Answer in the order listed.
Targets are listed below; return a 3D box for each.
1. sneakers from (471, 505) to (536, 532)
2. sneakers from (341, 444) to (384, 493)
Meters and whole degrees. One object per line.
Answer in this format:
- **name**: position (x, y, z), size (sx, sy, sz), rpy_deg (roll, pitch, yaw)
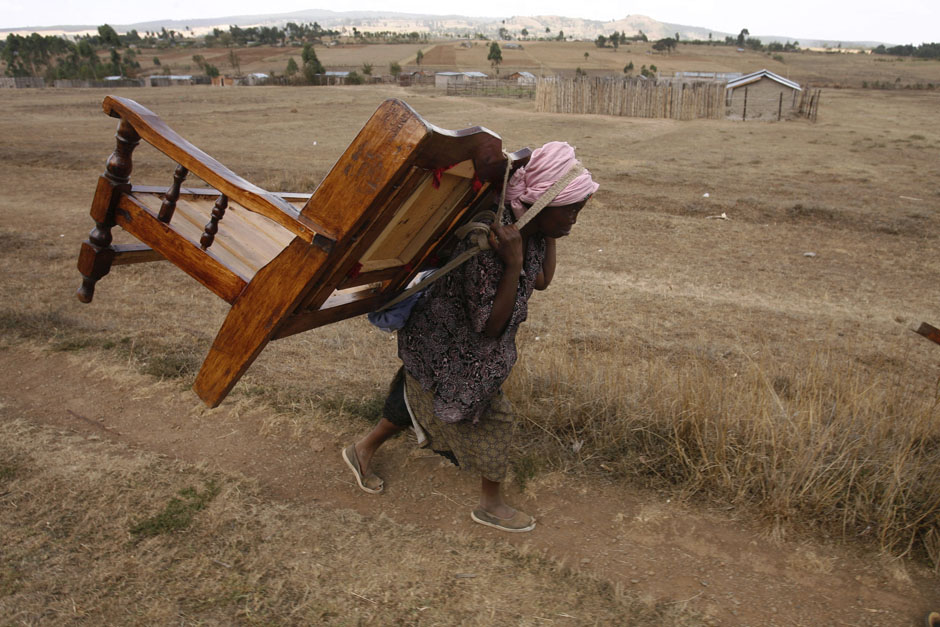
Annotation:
- **sneakers**: position (0.213, 1.314, 4.717), size (0.363, 0.143, 0.156), rpy_deg (3, 1, 3)
- **sneakers**: position (-0.747, 1.085, 4.935), size (0.368, 0.140, 0.192), rpy_deg (49, 30, 1)
